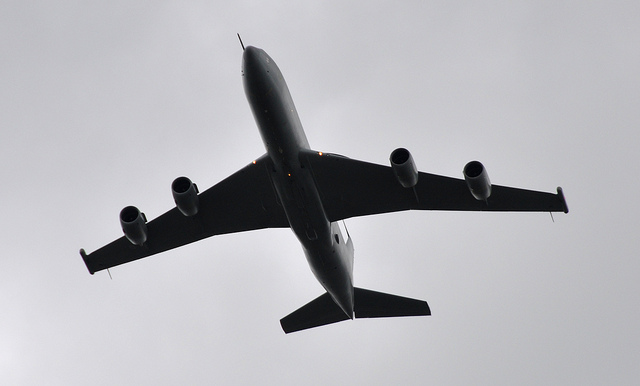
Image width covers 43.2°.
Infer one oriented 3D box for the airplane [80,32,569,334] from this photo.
[{"bbox_3d":[-0.539,-0.220,38.830,24.661,17.502,4.695,-8,-42,-9],"label":"airplane"}]
